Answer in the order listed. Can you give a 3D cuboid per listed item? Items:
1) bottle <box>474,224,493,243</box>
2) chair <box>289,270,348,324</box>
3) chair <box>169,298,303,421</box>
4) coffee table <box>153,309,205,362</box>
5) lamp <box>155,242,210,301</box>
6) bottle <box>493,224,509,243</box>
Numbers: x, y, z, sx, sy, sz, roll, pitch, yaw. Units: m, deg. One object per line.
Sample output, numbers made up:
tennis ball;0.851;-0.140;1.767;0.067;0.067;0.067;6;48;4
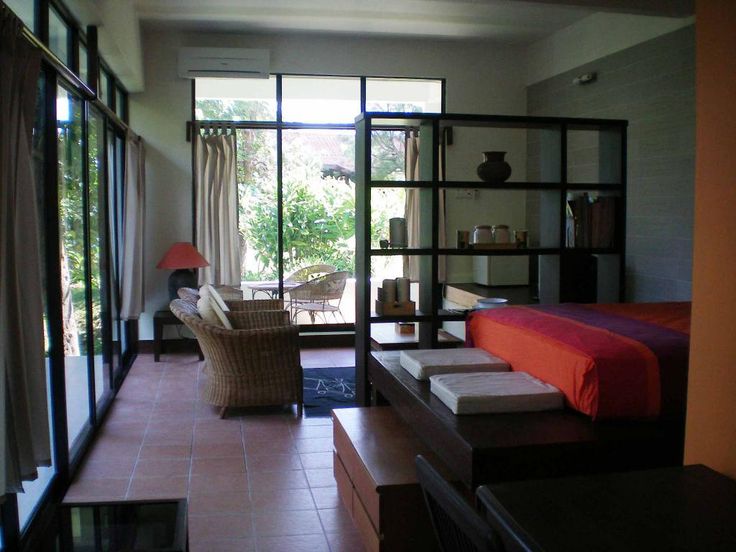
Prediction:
bottle;0.864;-0.316;4.545;0.126;0.120;0.127;2;2;0
chair;-0.660;0.296;7.389;0.621;0.871;0.614;8;11;4
chair;-1.098;0.616;5.242;1.116;0.864;1.035;0;14;-2
coffee table;-2.040;0.614;6.809;0.609;0.652;0.594;-1;-1;-16
lamp;-2.022;-0.016;6.641;0.547;0.673;0.568;-3;-1;-26
bottle;0.992;-0.315;4.544;0.123;0.136;0.125;0;2;0
